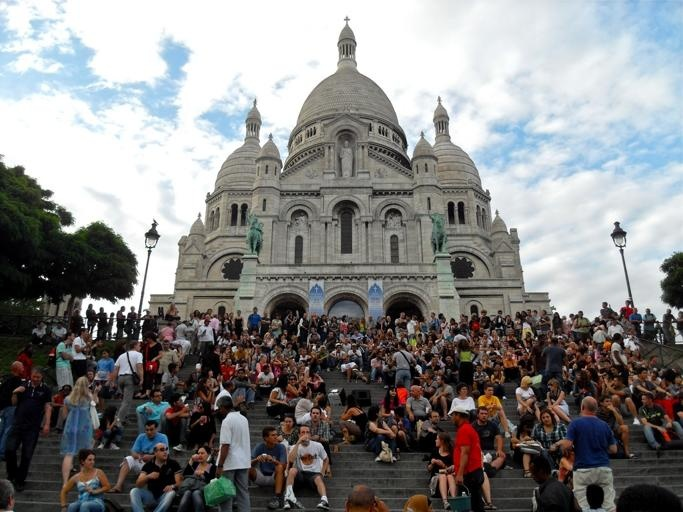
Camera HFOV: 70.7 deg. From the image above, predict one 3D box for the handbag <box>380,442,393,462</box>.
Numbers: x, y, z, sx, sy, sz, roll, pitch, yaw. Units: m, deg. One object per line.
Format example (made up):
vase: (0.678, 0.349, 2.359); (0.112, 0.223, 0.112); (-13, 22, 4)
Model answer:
handbag: (1.174, 4.970, 12.229); (0.372, 0.509, 0.164); (1, -24, -1)

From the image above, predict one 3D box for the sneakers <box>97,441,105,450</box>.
sneakers: (-6.513, 5.142, 13.099); (0.111, 0.126, 0.295); (7, -6, -5)

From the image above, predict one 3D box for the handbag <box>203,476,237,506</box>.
handbag: (-2.258, 4.393, 8.988); (0.563, 0.497, 0.392); (4, -25, -8)

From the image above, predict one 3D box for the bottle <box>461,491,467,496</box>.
bottle: (2.380, 4.609, 9.310); (0.058, 0.075, 0.058); (5, -13, 1)

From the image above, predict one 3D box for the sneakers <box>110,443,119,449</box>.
sneakers: (-6.123, 5.158, 13.036); (0.321, 0.138, 0.119); (-3, -7, 40)

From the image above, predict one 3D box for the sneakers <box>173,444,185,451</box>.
sneakers: (-4.163, 4.938, 12.383); (0.238, 0.178, 0.147); (11, -26, -22)

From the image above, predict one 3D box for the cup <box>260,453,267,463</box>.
cup: (-1.766, 4.583, 10.937); (0.205, 0.196, 0.320); (2, -24, -4)

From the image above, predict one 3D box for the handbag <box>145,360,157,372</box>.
handbag: (-5.922, 3.439, 15.073); (0.359, 0.394, 0.277); (1, -3, -14)

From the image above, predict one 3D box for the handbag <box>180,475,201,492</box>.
handbag: (-3.018, 4.592, 9.678); (0.437, 0.283, 0.136); (-10, -26, 21)

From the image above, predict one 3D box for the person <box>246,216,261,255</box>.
person: (-5.898, -1.657, 33.221); (0.864, 3.152, 0.846); (11, -26, -22)
